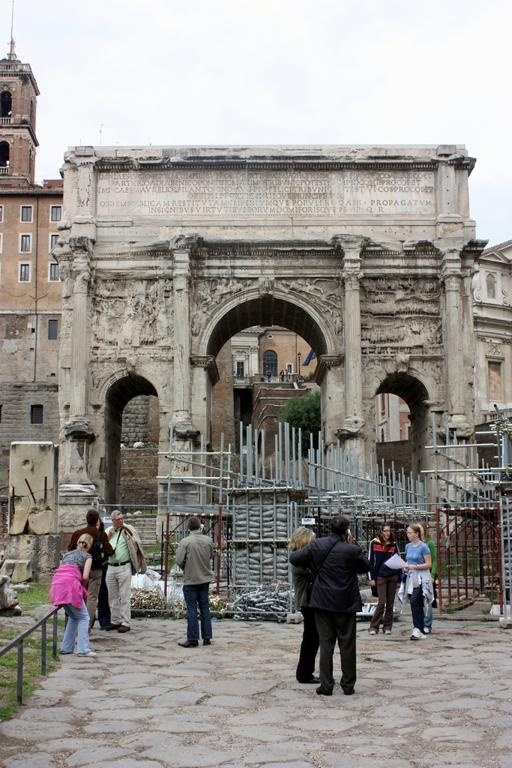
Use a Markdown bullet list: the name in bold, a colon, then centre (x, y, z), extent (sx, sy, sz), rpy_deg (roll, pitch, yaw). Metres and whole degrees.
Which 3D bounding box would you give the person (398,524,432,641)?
- **person**: centre (2.116, 2.542, 12.311), extent (0.351, 1.448, 0.640), rpy_deg (-1, -9, 10)

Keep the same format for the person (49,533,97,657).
- **person**: centre (-1.956, 2.252, 10.221), extent (0.484, 1.286, 1.249), rpy_deg (2, -9, -11)

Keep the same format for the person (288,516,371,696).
- **person**: centre (0.697, 1.980, 8.568), extent (0.652, 1.562, 0.435), rpy_deg (-1, -9, 10)

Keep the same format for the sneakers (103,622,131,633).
- **sneakers**: centre (-1.776, 3.138, 12.224), extent (0.340, 0.156, 0.122), rpy_deg (11, -18, 3)

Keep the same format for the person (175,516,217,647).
- **person**: centre (-0.701, 2.359, 11.416), extent (0.445, 1.518, 0.485), rpy_deg (-4, -9, 25)

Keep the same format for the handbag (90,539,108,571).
- **handbag**: centre (-1.953, 2.114, 11.770), extent (0.222, 0.330, 0.334), rpy_deg (4, -27, -11)

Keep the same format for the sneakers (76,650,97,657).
- **sneakers**: centre (-1.791, 2.861, 10.075), extent (0.201, 0.100, 0.078), rpy_deg (1, -21, 1)

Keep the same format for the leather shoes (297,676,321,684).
- **leather shoes**: centre (0.509, 2.795, 8.950), extent (0.223, 0.106, 0.084), rpy_deg (-5, -19, 11)

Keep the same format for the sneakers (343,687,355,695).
- **sneakers**: centre (0.829, 2.712, 8.426), extent (0.110, 0.074, 0.112), rpy_deg (0, -9, -2)

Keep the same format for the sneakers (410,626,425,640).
- **sneakers**: centre (2.069, 3.181, 12.100), extent (0.089, 0.116, 0.249), rpy_deg (-10, -36, 13)

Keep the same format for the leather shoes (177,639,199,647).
- **leather shoes**: centre (-0.799, 3.042, 11.184), extent (0.241, 0.129, 0.093), rpy_deg (3, -12, 10)
